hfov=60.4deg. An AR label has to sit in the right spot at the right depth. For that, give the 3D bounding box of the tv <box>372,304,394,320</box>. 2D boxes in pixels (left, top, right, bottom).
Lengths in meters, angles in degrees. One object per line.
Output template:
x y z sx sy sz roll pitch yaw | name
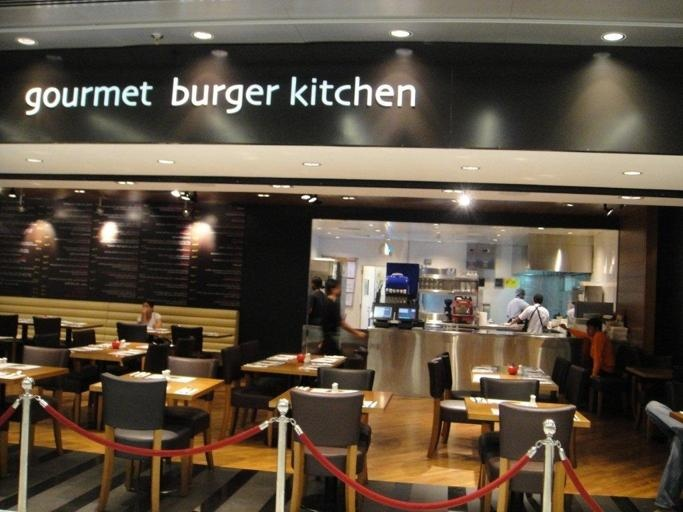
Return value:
0.779 1.106 11.041 0.495 0.254 0.416 2 7 8 | tv

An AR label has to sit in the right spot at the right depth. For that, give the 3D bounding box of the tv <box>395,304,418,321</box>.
1.329 1.159 11.871 0.492 0.242 0.330 2 6 -6 | tv

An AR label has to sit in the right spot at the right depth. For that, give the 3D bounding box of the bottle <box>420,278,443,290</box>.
2.059 0.638 13.375 0.515 0.290 0.121 1 -3 6 | bottle

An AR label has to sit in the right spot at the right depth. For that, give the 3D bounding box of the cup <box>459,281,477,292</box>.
2.921 0.739 13.502 0.445 0.236 0.295 2 -9 -4 | cup

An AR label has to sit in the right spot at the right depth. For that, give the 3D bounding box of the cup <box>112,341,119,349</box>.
-3.104 1.239 8.057 0.091 0.084 0.089 1 0 0 | cup

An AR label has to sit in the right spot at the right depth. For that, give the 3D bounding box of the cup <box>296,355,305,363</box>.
-0.532 1.372 7.729 0.095 0.088 0.096 -2 -2 0 | cup

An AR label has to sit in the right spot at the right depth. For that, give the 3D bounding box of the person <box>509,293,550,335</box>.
3.610 1.152 11.254 0.519 1.023 0.357 11 -3 15 | person
